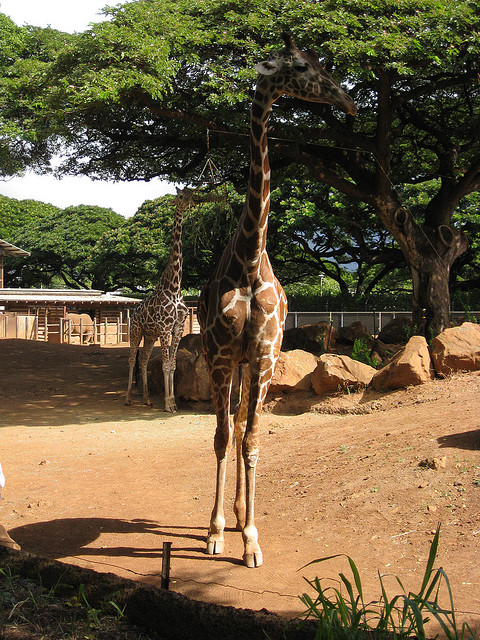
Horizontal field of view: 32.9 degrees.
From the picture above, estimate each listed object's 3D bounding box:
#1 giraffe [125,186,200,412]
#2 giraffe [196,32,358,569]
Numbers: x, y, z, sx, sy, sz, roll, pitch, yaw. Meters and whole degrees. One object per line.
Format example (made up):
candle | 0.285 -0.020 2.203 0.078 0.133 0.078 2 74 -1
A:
giraffe | -1.533 -0.368 15.699 0.915 4.186 2.407 1 -1 -24
giraffe | 0.144 -0.249 7.310 0.949 4.626 1.467 1 -1 -26
